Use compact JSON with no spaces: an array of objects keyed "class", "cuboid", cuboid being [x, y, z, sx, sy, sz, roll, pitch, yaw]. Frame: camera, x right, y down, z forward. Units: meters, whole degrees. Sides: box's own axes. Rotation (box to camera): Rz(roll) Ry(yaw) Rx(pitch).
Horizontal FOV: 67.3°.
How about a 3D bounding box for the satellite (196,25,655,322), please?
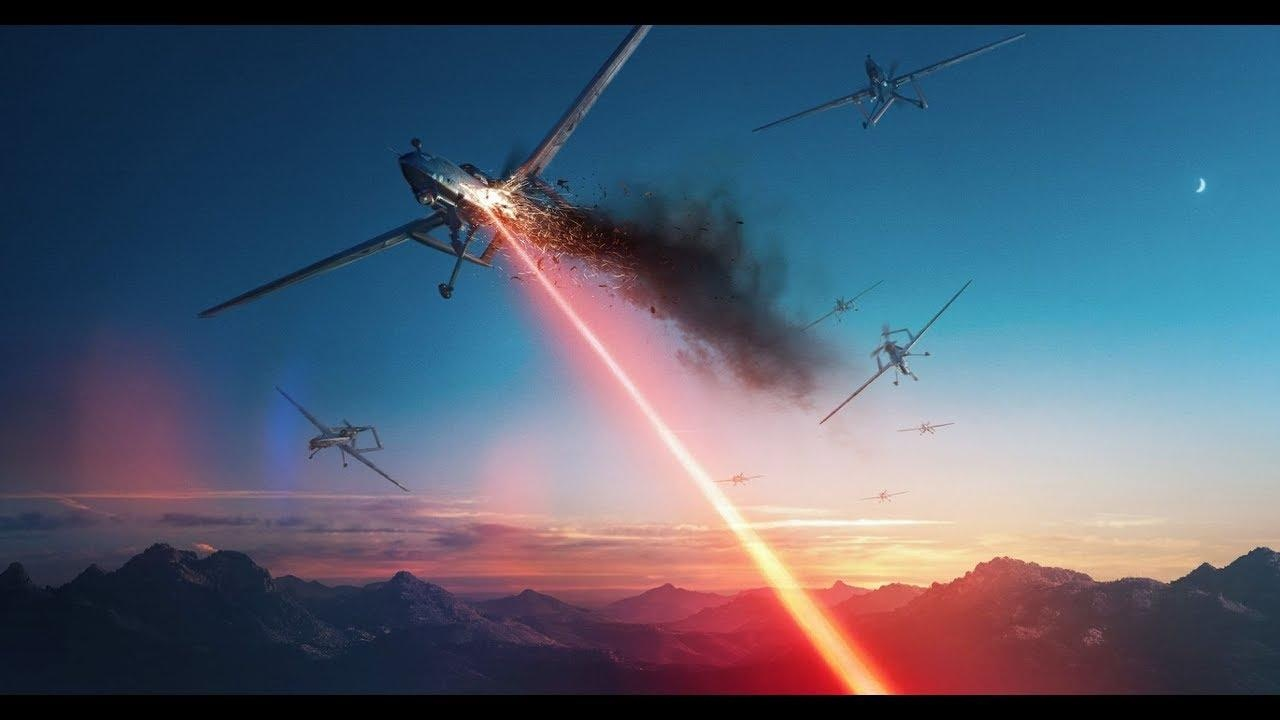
[{"class":"satellite","cuboid":[-4.002,-4.475,24.353,8.489,3.386,8.858,-26,-13,-46]}]
